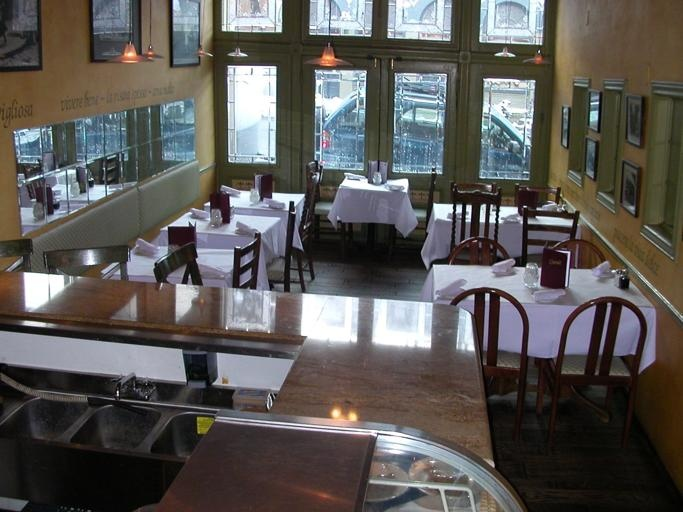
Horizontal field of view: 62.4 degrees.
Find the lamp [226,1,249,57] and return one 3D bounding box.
[{"bbox_3d":[-1.338,-3.008,7.339,0.266,0.883,1.295,0,12,-11],"label":"lamp"}]

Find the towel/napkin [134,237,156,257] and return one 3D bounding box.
[{"bbox_3d":[-1.631,-0.058,4.662,0.197,0.154,0.136,-2,22,-2],"label":"towel/napkin"}]

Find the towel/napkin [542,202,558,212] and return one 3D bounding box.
[{"bbox_3d":[2.268,-0.532,6.161,0.122,0.077,0.173,-2,7,6],"label":"towel/napkin"}]

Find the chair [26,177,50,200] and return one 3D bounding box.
[{"bbox_3d":[-2.415,-0.555,4.603,0.130,0.150,0.246,2,11,-9],"label":"chair"}]

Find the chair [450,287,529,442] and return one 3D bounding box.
[{"bbox_3d":[0.993,0.667,3.779,0.484,1.058,0.662,6,11,22],"label":"chair"}]

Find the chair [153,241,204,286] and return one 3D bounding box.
[{"bbox_3d":[-1.107,0.058,3.841,0.171,0.288,0.206,9,18,16],"label":"chair"}]

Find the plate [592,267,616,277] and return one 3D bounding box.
[{"bbox_3d":[1.991,0.133,4.285,0.080,0.042,0.113,-2,2,-17],"label":"plate"}]

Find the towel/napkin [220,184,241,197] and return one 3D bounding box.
[{"bbox_3d":[-1.273,-0.754,6.540,0.236,0.076,0.237,18,10,20],"label":"towel/napkin"}]

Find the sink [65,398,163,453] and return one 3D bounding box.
[{"bbox_3d":[-0.850,0.663,2.168,0.313,0.208,0.155,5,11,8],"label":"sink"}]
